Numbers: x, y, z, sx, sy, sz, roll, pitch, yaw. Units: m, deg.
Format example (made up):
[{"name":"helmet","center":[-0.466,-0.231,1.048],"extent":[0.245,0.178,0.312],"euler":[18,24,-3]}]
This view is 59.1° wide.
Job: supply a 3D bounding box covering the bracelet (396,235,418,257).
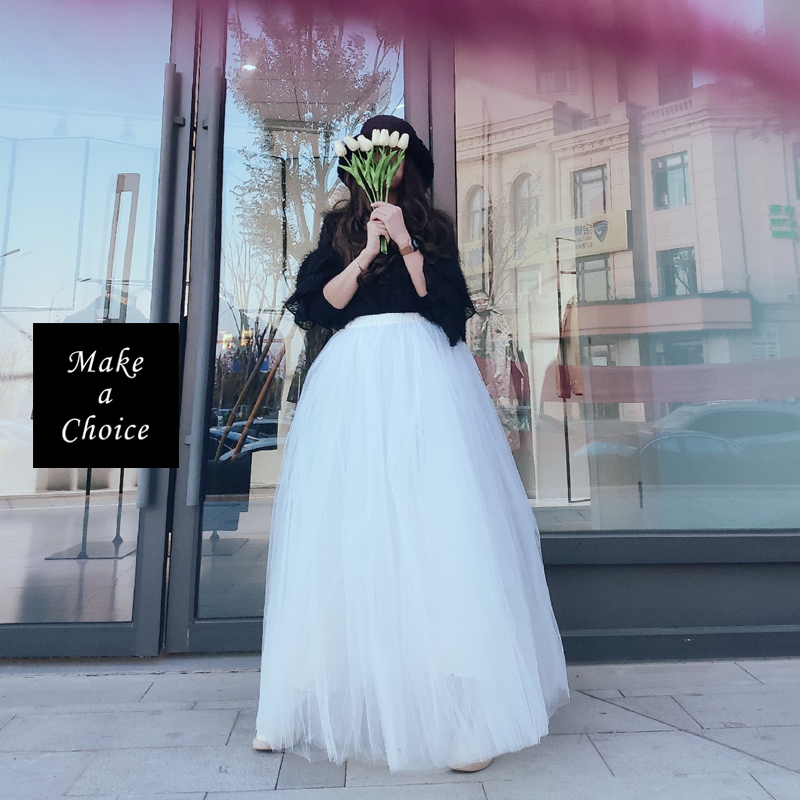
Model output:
[{"name":"bracelet","center":[0.022,-0.395,1.874],"extent":[0.050,0.039,0.058],"euler":[-9,14,19]}]
